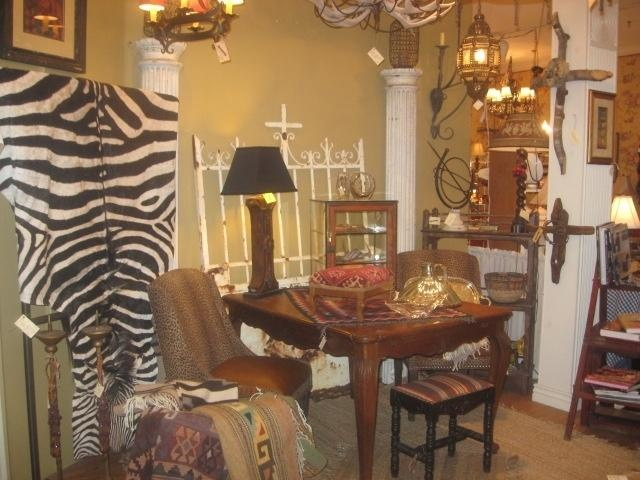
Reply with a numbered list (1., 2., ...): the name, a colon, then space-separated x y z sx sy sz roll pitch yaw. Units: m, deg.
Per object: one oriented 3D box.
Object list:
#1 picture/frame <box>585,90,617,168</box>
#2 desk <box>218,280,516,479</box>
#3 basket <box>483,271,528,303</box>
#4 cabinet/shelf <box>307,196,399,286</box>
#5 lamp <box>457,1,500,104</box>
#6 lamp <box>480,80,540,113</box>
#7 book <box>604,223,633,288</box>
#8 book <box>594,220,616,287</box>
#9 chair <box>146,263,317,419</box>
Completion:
1. picture/frame: 2.156 -0.878 4.871 0.049 0.675 0.577 0 2 39
2. desk: 0.453 0.609 4.119 1.168 0.834 1.536 -3 5 -40
3. basket: 1.583 0.402 5.390 0.267 0.182 0.271 -2 0 -43
4. cabinet/shelf: 0.272 0.006 4.970 0.616 0.750 0.266 -4 11 -27
5. lamp: 1.261 -1.488 5.013 0.334 0.726 0.292 3 14 12
6. lamp: 2.623 -1.938 8.611 0.727 0.622 0.718 -2 10 9
7. book: 2.183 0.115 4.635 0.075 0.466 0.441 -5 0 35
8. book: 2.107 0.108 4.716 0.101 0.484 0.489 2 -9 18
9. chair: -0.553 0.746 4.128 0.956 1.145 0.666 -2 4 28
